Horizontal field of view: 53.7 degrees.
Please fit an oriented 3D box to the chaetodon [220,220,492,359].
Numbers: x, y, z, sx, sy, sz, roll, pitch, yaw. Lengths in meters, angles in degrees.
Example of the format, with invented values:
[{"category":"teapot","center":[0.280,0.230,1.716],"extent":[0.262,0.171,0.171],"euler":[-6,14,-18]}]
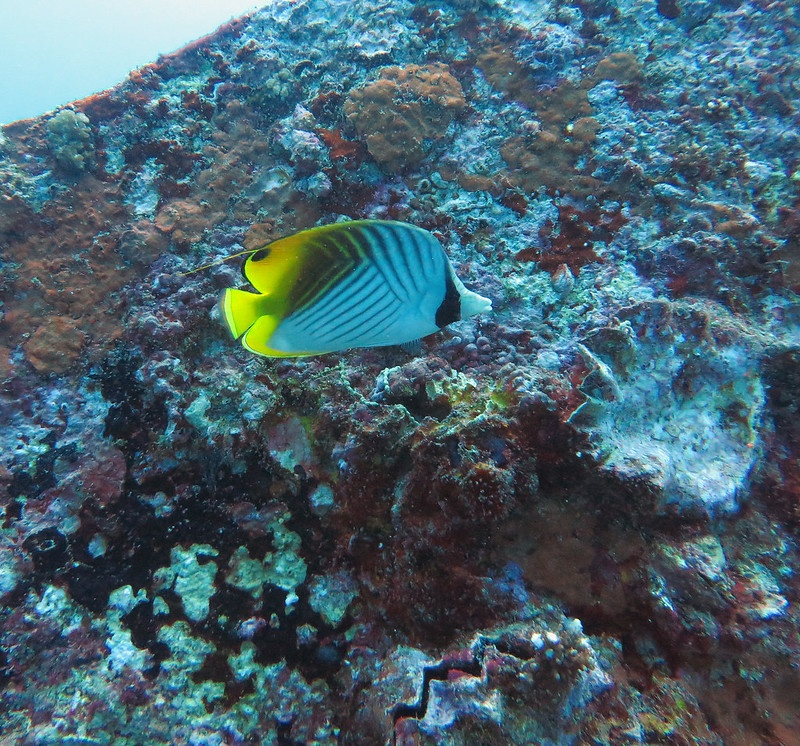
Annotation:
[{"category":"chaetodon","center":[-0.235,-0.440,4.540],"extent":[0.944,0.584,0.131],"euler":[-10,31,-9]}]
